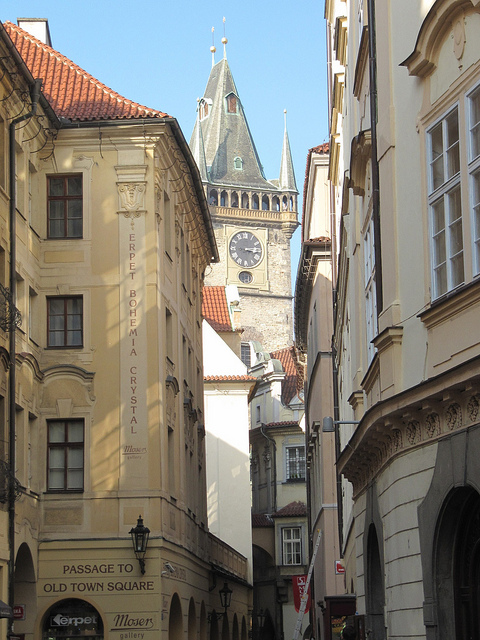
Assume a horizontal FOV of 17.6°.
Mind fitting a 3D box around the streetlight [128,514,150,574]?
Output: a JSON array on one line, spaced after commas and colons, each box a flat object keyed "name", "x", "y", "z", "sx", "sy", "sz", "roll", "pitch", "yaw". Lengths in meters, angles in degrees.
[{"name": "streetlight", "x": -2.052, "y": 4.586, "z": 31.692, "sx": 0.352, "sy": 1.256, "sz": 0.390, "roll": -4, "pitch": 12, "yaw": -28}]
